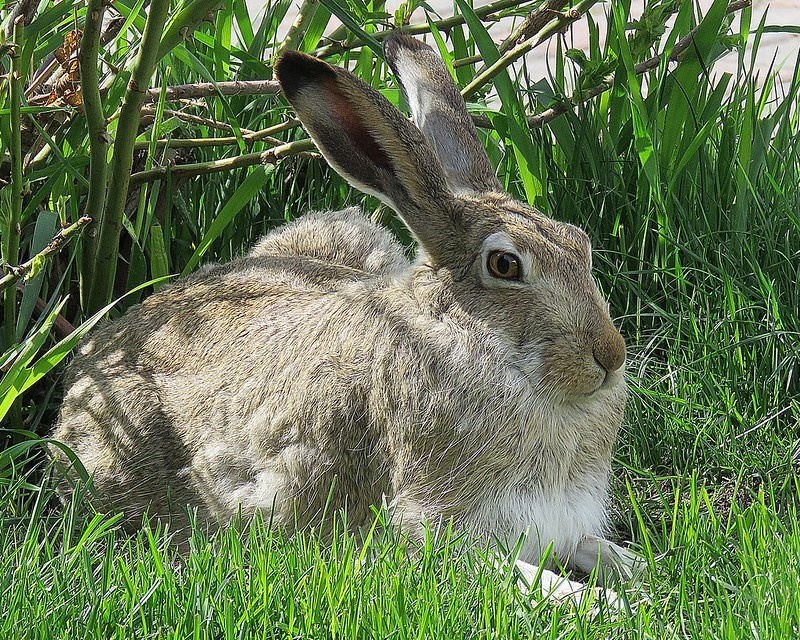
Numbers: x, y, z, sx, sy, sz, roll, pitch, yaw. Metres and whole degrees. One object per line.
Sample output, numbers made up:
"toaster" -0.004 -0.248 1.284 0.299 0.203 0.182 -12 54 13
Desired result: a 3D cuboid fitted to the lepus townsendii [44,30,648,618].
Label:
"lepus townsendii" -0.051 -0.069 2.687 1.352 1.528 1.026 -4 7 20
